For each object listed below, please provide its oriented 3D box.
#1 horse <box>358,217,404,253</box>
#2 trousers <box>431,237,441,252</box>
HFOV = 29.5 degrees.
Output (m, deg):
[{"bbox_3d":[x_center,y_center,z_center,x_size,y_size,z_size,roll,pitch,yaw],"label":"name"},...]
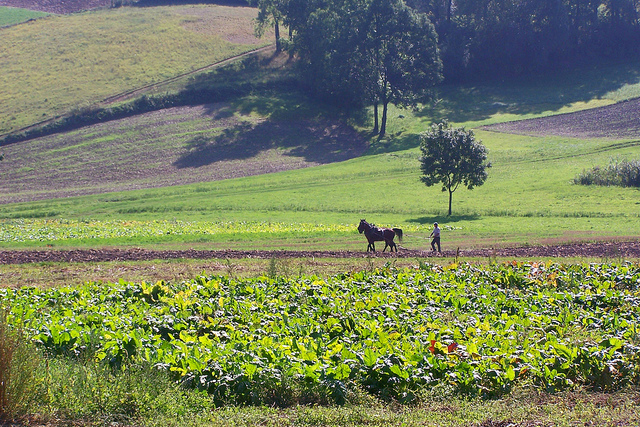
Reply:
[{"bbox_3d":[9.703,3.442,196.218,6.734,5.277,3.632,-3,8,-6],"label":"horse"},{"bbox_3d":[18.694,4.901,195.295,1.387,2.254,1.380,-1,8,5],"label":"trousers"}]
